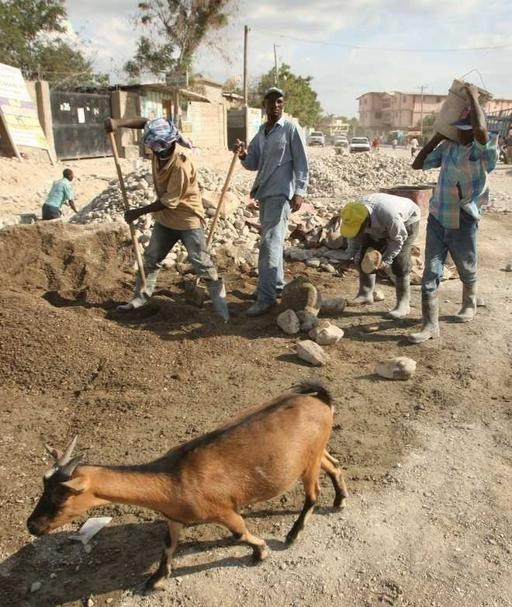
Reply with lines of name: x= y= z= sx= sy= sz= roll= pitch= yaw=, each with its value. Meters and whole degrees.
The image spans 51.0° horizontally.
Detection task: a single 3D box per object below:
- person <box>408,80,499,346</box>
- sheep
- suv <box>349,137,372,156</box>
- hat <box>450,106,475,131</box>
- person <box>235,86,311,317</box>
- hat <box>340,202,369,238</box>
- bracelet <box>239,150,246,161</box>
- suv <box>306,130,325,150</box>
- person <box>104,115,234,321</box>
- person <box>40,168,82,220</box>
person: x=1.698 y=-0.746 z=4.690 sx=0.695 sy=2.163 sz=0.797 roll=4 pitch=22 yaw=14
sheep: x=-0.340 y=0.939 z=2.668 sx=1.181 sy=0.667 sz=0.286 roll=-24 pitch=35 yaw=-14
suv: x=7.268 y=-10.823 z=37.335 sx=1.492 sy=0.999 sz=3.142 roll=3 pitch=25 yaw=8
hat: x=1.671 y=-1.464 z=4.297 sx=0.204 sy=0.096 sz=0.121 roll=-18 pitch=27 yaw=-6
person: x=0.176 y=-1.042 z=5.468 sx=0.709 sy=2.152 sz=0.950 roll=-2 pitch=21 yaw=-1
hat: x=0.935 y=-0.770 z=5.086 sx=0.256 sy=0.348 sz=0.311 roll=-1 pitch=19 yaw=1
bracelet: x=-0.131 y=-1.539 z=5.592 sx=0.097 sy=0.032 sz=0.111 roll=4 pitch=57 yaw=12
suv: x=5.405 y=-14.633 z=48.334 sx=2.055 sy=1.479 sz=3.324 roll=1 pitch=21 yaw=6
person: x=-0.734 y=-0.753 z=5.081 sx=0.911 sy=1.870 sz=0.634 roll=0 pitch=21 yaw=2
person: x=-3.402 y=-1.874 z=9.298 sx=0.521 sy=0.845 sz=1.578 roll=-7 pitch=19 yaw=-15
